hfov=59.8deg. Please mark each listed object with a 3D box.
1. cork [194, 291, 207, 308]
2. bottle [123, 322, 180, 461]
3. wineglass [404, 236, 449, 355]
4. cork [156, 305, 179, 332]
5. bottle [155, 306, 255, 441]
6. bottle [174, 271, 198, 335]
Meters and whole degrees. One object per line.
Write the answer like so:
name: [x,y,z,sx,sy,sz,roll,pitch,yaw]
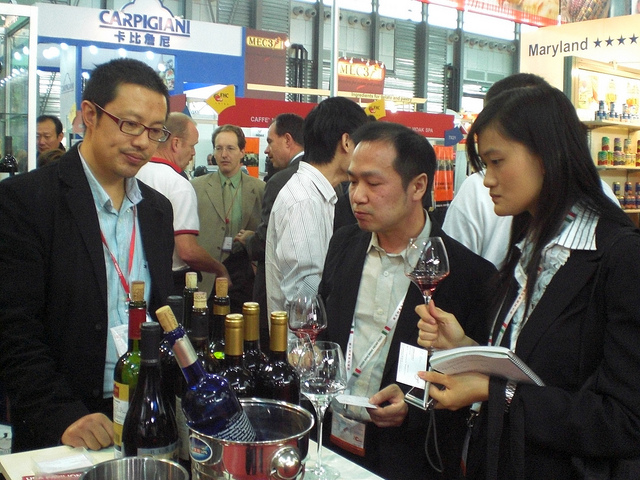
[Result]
cork: [-0.375,0.188,1.794,0.047,0.056,0.047,1,1,-35]
bottle: [-0.526,0.524,1.736,0.155,0.553,0.151,3,8,0]
wineglass: [0.427,0.127,2.259,0.169,0.279,0.158,5,7,18]
cork: [-0.413,0.208,1.531,0.056,0.067,0.092,3,7,-2]
bottle: [-0.308,0.363,1.525,0.254,0.359,0.105,5,7,13]
bottle: [-0.458,0.213,1.957,0.051,0.214,0.045,12,-25,-30]
